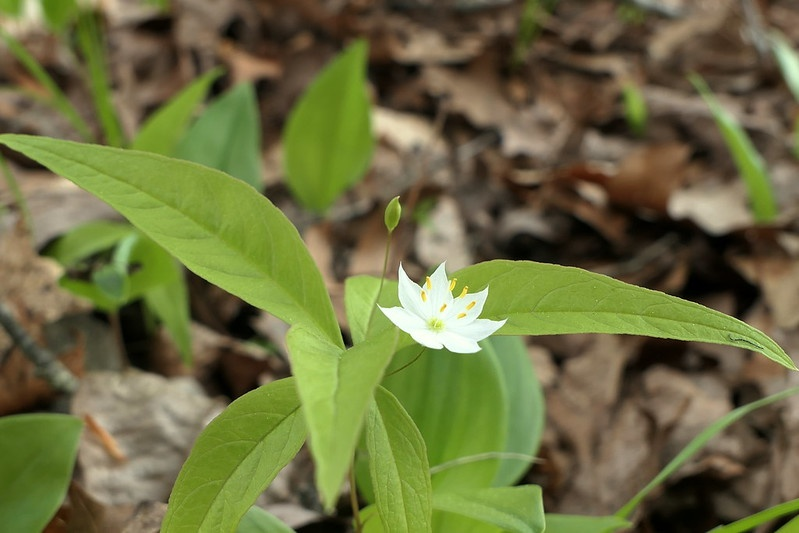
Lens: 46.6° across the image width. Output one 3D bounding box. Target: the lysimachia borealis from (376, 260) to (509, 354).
[{"bbox_3d":[0.119,0.132,2.436,0.255,0.112,0.269,38,44,7],"label":"lysimachia borealis"}]
